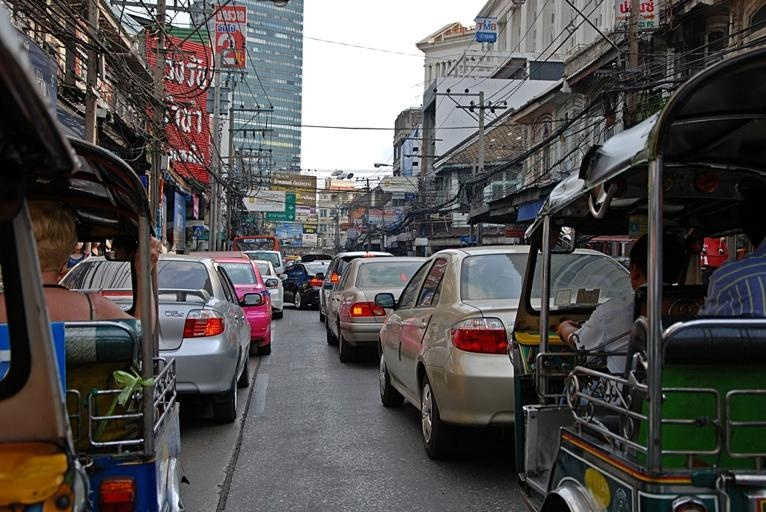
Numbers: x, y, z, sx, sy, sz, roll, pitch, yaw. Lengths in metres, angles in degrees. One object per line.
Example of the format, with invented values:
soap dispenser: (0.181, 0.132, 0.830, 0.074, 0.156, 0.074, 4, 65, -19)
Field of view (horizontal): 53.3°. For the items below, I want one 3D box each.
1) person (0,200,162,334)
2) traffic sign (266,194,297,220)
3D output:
person: (-1.848, 0.060, 4.590, 0.557, 0.515, 1.012, 0, 4, -12)
traffic sign: (-8.358, -4.167, 63.707, 2.213, 2.282, 1.720, 1, 1, 5)
